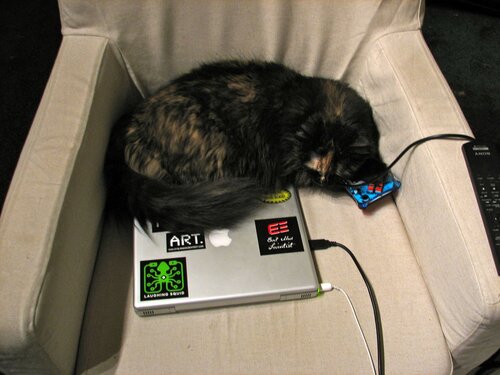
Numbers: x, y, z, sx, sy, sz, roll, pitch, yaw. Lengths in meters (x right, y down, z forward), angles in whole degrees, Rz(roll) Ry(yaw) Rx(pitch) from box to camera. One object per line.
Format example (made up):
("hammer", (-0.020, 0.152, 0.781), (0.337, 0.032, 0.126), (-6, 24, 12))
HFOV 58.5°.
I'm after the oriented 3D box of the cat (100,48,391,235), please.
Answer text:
("cat", (-0.027, -0.109, 1.533), (0.776, 0.283, 0.510), (-15, 72, -7))
